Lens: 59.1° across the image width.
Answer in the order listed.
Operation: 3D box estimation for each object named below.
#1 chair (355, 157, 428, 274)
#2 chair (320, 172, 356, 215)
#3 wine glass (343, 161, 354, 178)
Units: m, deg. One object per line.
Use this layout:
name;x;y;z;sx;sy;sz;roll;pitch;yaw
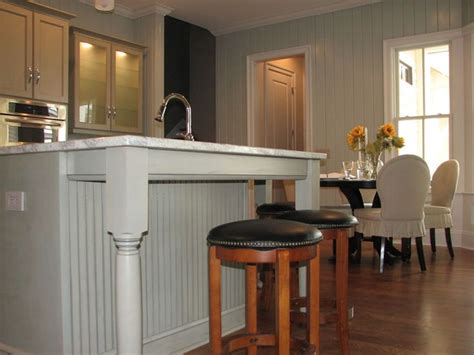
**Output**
chair;1.438;0.327;3.916;0.636;1.092;0.319;3;8;26
chair;1.140;0.216;4.815;0.534;0.283;0.563;0;7;0
wine glass;1.153;-0.086;4.338;0.097;0.181;0.499;2;7;16
